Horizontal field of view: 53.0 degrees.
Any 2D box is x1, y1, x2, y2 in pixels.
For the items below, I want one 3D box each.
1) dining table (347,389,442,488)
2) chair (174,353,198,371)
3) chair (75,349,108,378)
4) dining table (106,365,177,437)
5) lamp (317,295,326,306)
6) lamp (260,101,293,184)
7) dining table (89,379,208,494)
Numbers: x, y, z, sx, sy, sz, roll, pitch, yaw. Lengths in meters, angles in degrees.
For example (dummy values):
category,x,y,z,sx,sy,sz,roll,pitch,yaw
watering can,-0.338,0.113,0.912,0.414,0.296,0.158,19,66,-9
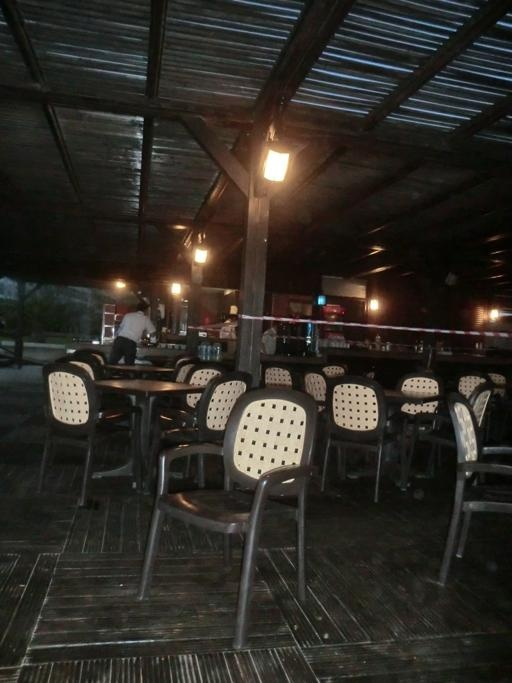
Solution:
category,x,y,z,sx,sy,sz,roll,pitch,yaw
dining table,1.301,0.670,4.298,0.694,0.979,0.735,-4,-7,43
chair,-0.716,0.184,4.999,0.183,0.158,0.141,2,-3,14
chair,-1.507,0.191,4.699,0.308,0.247,0.455,4,-14,-10
dining table,-1.088,0.503,5.047,0.662,0.486,0.678,-4,8,-45
lamp,1.392,-0.887,10.955,0.127,0.231,0.254,-11,-13,40
lamp,0.144,-1.434,3.735,0.196,0.526,0.432,4,-1,-1
dining table,-0.754,0.649,3.694,0.754,0.726,0.764,-1,-4,39
